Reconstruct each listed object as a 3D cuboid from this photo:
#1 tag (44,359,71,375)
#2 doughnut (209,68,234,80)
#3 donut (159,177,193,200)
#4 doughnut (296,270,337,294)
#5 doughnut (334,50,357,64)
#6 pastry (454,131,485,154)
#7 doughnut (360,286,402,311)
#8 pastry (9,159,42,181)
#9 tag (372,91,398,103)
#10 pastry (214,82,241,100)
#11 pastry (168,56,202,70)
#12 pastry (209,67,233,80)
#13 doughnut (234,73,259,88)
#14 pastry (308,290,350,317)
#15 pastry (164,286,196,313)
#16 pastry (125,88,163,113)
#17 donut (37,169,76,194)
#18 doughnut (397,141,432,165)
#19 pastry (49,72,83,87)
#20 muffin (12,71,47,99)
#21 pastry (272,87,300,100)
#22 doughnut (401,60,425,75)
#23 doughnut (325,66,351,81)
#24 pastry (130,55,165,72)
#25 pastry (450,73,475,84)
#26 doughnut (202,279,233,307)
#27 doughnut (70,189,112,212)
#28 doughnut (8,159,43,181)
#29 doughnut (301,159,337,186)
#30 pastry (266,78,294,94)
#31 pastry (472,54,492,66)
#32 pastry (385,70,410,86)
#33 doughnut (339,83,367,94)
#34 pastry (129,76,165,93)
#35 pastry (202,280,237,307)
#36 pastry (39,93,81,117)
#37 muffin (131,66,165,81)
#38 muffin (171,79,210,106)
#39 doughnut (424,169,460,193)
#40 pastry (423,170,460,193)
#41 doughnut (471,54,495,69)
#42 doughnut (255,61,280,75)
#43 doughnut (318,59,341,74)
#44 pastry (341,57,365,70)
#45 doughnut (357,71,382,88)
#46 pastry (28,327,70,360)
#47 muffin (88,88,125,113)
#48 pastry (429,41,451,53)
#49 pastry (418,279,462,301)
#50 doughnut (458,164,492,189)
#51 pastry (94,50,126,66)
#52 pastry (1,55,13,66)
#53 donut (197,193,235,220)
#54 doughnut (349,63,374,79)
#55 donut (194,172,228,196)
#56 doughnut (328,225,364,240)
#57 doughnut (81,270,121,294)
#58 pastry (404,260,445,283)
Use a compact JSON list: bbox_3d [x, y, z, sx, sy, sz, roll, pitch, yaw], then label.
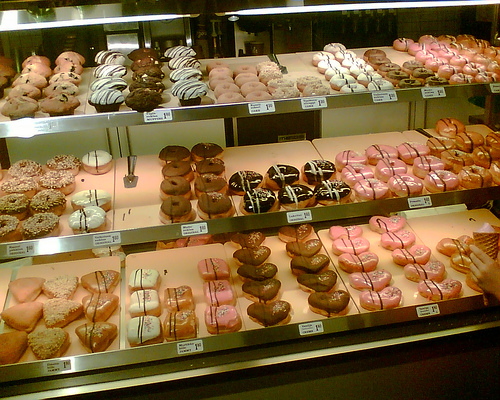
[{"bbox_3d":[-0.825,0.699,1.505,0.108,0.050,0.023,-1,-10,-15],"label":"tag"},{"bbox_3d":[-0.152,-0.647,1.777,0.084,0.026,0.081,16,39,19],"label":"doughnut"},{"bbox_3d":[-0.373,-0.054,1.729,0.147,0.080,0.122,19,33,41],"label":"donut"},{"bbox_3d":[0.350,0.432,1.846,0.176,0.056,0.194,21,11,8],"label":"doughnut"},{"bbox_3d":[0.520,-0.807,1.953,0.119,0.042,0.111,-1,36,5],"label":"doughnut"},{"bbox_3d":[1.265,-0.341,2.042,0.145,0.066,0.135,-4,37,7],"label":"pastry"},{"bbox_3d":[0.625,0.480,1.747,0.225,0.054,0.119,-6,32,-11],"label":"doughnut"},{"bbox_3d":[-1.225,-0.168,1.928,0.133,0.049,0.156,4,24,-5],"label":"pastry"},{"bbox_3d":[0.566,-0.437,1.491,0.105,0.038,0.037,-10,25,-13],"label":"tag"},{"bbox_3d":[-0.106,-0.481,1.564,0.106,0.039,0.099,3,41,3],"label":"pastry"},{"bbox_3d":[-0.332,-0.682,1.754,0.122,0.039,0.126,-6,20,-13],"label":"pastry"},{"bbox_3d":[-0.149,-0.645,1.775,0.091,0.031,0.086,11,39,12],"label":"pastry"},{"bbox_3d":[-0.018,-0.573,1.695,0.110,0.040,0.103,0,35,4],"label":"doughnut"},{"bbox_3d":[0.382,0.491,1.691,0.138,0.046,0.129,-4,24,-6],"label":"pastry"},{"bbox_3d":[-0.351,0.497,1.753,0.149,0.061,0.165,-8,24,-9],"label":"pastry"},{"bbox_3d":[-0.417,-0.379,1.377,0.118,0.060,0.110,4,43,9],"label":"pastry"},{"bbox_3d":[-1.002,-0.115,1.843,0.154,0.047,0.144,1,31,-7],"label":"donut"},{"bbox_3d":[0.915,-0.291,2.017,0.153,0.050,0.142,-3,39,-1],"label":"doughnut"},{"bbox_3d":[-0.854,-0.562,1.628,0.104,0.050,0.097,-4,15,-9],"label":"pastry"},{"bbox_3d":[-0.976,-0.547,1.628,0.160,0.122,0.150,-12,40,-20],"label":"muffin"},{"bbox_3d":[0.150,-0.457,1.506,0.117,0.035,0.123,-2,24,4],"label":"pastry"},{"bbox_3d":[0.831,-0.695,1.822,0.098,0.041,0.104,0,34,6],"label":"doughnut"},{"bbox_3d":[0.425,-0.643,1.754,0.119,0.039,0.111,1,34,7],"label":"doughnut"},{"bbox_3d":[-0.512,-0.682,1.751,0.131,0.043,0.107,-5,29,-3],"label":"pastry"},{"bbox_3d":[0.989,-0.566,1.649,0.096,0.034,0.090,-1,24,1],"label":"pastry"},{"bbox_3d":[-0.165,0.466,1.780,0.148,0.068,0.209,-6,24,-5],"label":"doughnut"},{"bbox_3d":[-0.767,-0.005,1.698,0.131,0.043,0.125,7,26,13],"label":"doughnut"},{"bbox_3d":[-1.229,-0.169,1.928,0.142,0.053,0.165,3,25,-8],"label":"doughnut"},{"bbox_3d":[0.368,-0.138,1.905,0.182,0.180,0.065,0,71,28],"label":"doughnut"},{"bbox_3d":[0.131,-0.514,1.593,0.109,0.039,0.111,-1,29,8],"label":"pastry"},{"bbox_3d":[1.229,-0.755,1.886,0.114,0.038,0.107,1,33,4],"label":"pastry"},{"bbox_3d":[0.705,-0.596,1.701,0.097,0.035,0.091,-2,33,1],"label":"pastry"},{"bbox_3d":[0.453,-0.497,1.569,0.126,0.027,0.152,-10,24,-13],"label":"doughnut"},{"bbox_3d":[-0.433,-0.499,1.467,0.110,0.054,0.104,-2,21,0],"label":"pastry"},{"bbox_3d":[-0.168,0.467,1.786,0.154,0.065,0.150,-14,40,-17],"label":"pastry"},{"bbox_3d":[-0.753,-0.378,1.421,0.122,0.068,0.115,8,38,6],"label":"pastry"},{"bbox_3d":[-0.465,-0.586,1.621,0.121,0.055,0.118,-20,29,-38],"label":"muffin"},{"bbox_3d":[-0.258,-0.446,1.450,0.134,0.085,0.127,-2,17,-3],"label":"muffin"},{"bbox_3d":[0.931,-0.096,1.730,0.128,0.060,0.121,-18,36,-16],"label":"doughnut"},{"bbox_3d":[0.934,-0.096,1.723,0.129,0.058,0.124,8,36,23],"label":"pastry"},{"bbox_3d":[1.210,-0.725,1.847,0.122,0.040,0.115,-10,30,-15],"label":"doughnut"},{"bbox_3d":[0.086,-0.668,1.793,0.111,0.034,0.103,-2,35,3],"label":"doughnut"},{"bbox_3d":[0.394,-0.676,1.793,0.111,0.034,0.104,1,36,6],"label":"doughnut"},{"bbox_3d":[0.531,-0.713,1.846,0.104,0.032,0.095,-2,32,0],"label":"pastry"},{"bbox_3d":[0.561,-0.582,1.682,0.115,0.042,0.107,-2,38,5],"label":"doughnut"},{"bbox_3d":[-0.898,0.635,1.552,0.174,0.072,0.133,-7,24,-7],"label":"pastry"},{"bbox_3d":[-0.574,-0.399,1.408,0.117,0.076,0.109,-2,32,-5],"label":"muffin"},{"bbox_3d":[1.093,-0.899,2.049,0.108,0.033,0.101,-2,37,3],"label":"pastry"},{"bbox_3d":[0.949,0.449,1.767,0.213,0.067,0.093,-5,24,-1],"label":"pastry"},{"bbox_3d":[1.103,-0.118,1.752,0.126,0.061,0.117,-13,37,-8],"label":"doughnut"},{"bbox_3d":[-0.721,-0.724,1.805,0.104,0.043,0.117,-16,19,-36],"label":"pastry"},{"bbox_3d":[-1.174,-0.673,1.700,0.052,0.020,0.061,6,32,-16],"label":"pastry"},{"bbox_3d":[-0.158,0.032,1.603,0.176,0.085,0.176,-6,24,-4],"label":"donut"},{"bbox_3d":[0.554,-0.663,1.782,0.116,0.040,0.108,-1,29,1],"label":"doughnut"},{"bbox_3d":[-0.202,-0.067,1.763,0.131,0.083,0.152,18,32,40],"label":"donut"},{"bbox_3d":[0.561,0.185,2.084,0.147,0.040,0.090,-3,23,1],"label":"doughnut"},{"bbox_3d":[-0.798,0.433,1.864,0.178,0.072,0.153,1,24,12],"label":"doughnut"},{"bbox_3d":[0.922,0.378,1.853,0.211,0.074,0.123,-12,25,-17],"label":"pastry"}]
